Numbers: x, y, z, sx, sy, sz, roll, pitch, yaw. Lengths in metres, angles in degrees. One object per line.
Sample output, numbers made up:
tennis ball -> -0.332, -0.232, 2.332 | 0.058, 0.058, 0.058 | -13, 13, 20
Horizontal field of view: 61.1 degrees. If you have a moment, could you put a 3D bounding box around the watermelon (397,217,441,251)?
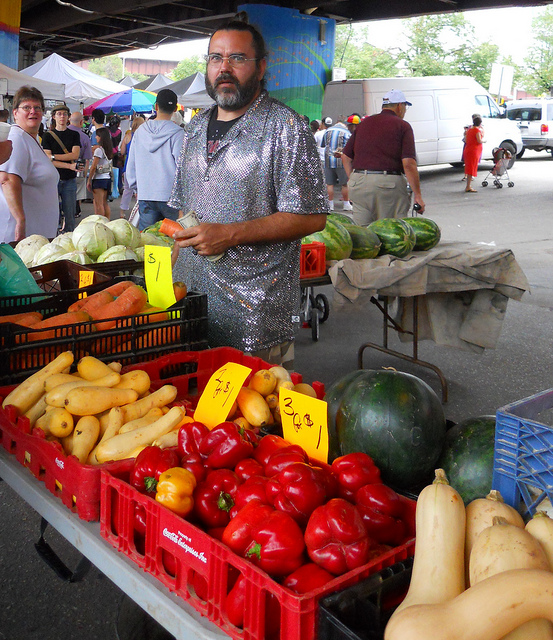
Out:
watermelon -> 1.441, -0.854, 4.682 | 0.480, 0.253, 0.235 | -2, 7, 3

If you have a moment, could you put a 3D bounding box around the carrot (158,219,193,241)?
carrot -> -0.421, -0.369, 1.916 | 0.143, 0.074, 0.053 | 27, 3, 16

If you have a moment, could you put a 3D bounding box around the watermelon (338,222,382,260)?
watermelon -> 0.833, -0.745, 4.394 | 0.477, 0.234, 0.236 | 9, 39, 19

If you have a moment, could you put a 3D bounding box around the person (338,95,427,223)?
person -> 1.490, -2.120, 6.324 | 0.542, 1.686, 1.383 | -18, 30, -40

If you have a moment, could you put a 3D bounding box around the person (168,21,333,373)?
person -> -0.229, -0.520, 2.262 | 0.771, 1.643, 0.749 | -17, 30, -40

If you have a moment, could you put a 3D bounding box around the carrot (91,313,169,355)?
carrot -> -0.588, 0.056, 1.842 | 0.222, 0.061, 0.059 | -25, 61, -15

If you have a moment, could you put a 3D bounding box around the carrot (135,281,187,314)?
carrot -> -0.491, -0.109, 2.037 | 0.155, 0.157, 0.194 | 4, 64, -3

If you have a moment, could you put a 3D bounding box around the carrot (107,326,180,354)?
carrot -> -0.514, 0.086, 1.896 | 0.120, 0.042, 0.182 | 0, 4, 38

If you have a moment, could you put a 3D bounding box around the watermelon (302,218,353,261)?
watermelon -> 0.479, -0.728, 4.255 | 0.469, 0.312, 0.348 | -17, 30, -38

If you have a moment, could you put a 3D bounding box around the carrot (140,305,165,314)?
carrot -> -0.522, -0.044, 1.998 | 0.046, 0.027, 0.059 | -5, 0, 14

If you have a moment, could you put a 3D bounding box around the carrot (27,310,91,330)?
carrot -> -0.837, 0.005, 1.813 | 0.194, 0.042, 0.128 | 3, 23, 1
